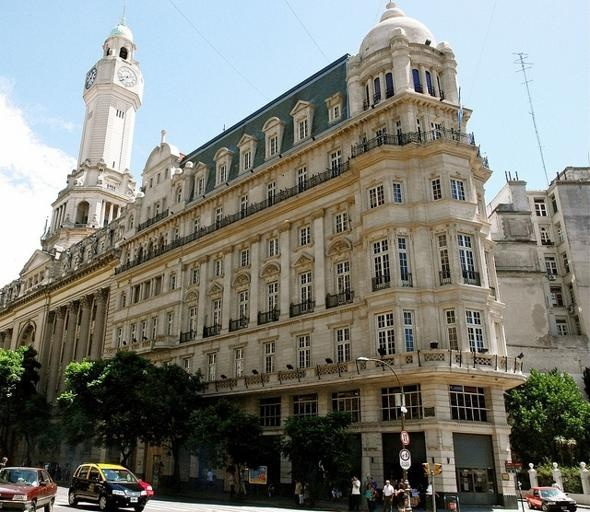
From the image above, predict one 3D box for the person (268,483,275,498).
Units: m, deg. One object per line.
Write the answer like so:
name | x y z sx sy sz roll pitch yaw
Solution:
person | -1.761 17.295 39.968 0.675 1.176 0.647 -1 -35 -1
